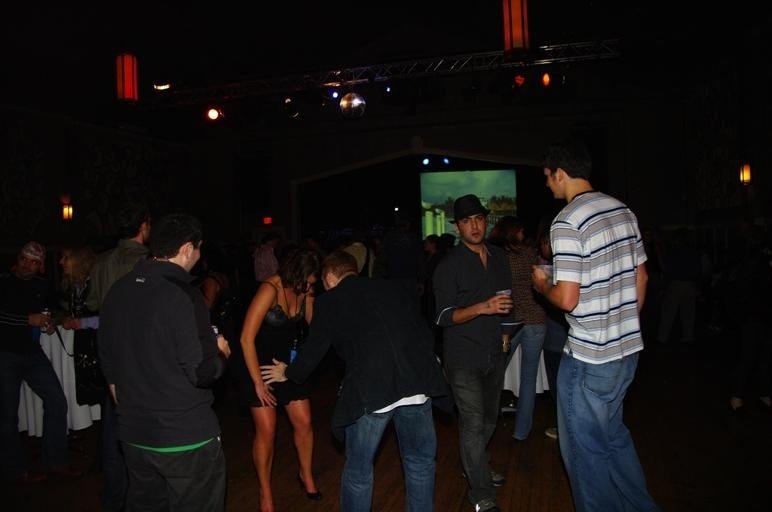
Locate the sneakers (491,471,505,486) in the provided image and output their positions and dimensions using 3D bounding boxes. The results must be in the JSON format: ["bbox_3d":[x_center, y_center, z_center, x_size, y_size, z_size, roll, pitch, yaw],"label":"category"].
[{"bbox_3d":[1.204,2.385,6.167,0.128,0.115,0.235,-2,2,11],"label":"sneakers"}]

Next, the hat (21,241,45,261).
[{"bbox_3d":[-3.930,-0.058,6.366,0.192,0.190,0.251,-2,2,3],"label":"hat"}]

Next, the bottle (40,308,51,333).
[{"bbox_3d":[-3.816,0.701,6.378,0.103,0.272,0.183,7,-8,-43],"label":"bottle"}]

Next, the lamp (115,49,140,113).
[{"bbox_3d":[-3.985,-2.729,8.729,0.312,0.698,0.239,-3,3,-11],"label":"lamp"}]

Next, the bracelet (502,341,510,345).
[{"bbox_3d":[1.247,0.899,5.964,0.055,0.051,0.054,0,0,-34],"label":"bracelet"}]

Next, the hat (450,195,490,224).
[{"bbox_3d":[0.844,-0.483,5.732,0.345,0.276,0.236,-2,2,10],"label":"hat"}]

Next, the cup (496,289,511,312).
[{"bbox_3d":[1.111,0.398,5.391,0.147,0.165,0.153,6,-9,1],"label":"cup"}]
